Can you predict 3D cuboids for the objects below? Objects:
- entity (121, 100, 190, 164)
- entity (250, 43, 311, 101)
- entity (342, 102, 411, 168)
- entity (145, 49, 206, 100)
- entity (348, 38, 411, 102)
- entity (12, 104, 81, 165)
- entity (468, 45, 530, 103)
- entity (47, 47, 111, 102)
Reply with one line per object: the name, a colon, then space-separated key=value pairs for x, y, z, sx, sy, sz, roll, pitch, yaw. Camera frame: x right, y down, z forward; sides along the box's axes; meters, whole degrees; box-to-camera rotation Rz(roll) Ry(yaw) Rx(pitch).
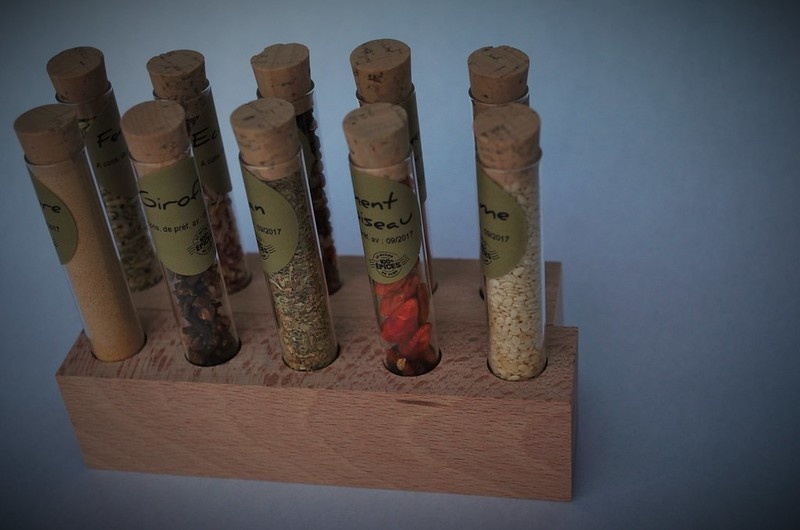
entity: x=-0.692 y=-0.397 z=2.027 sx=0.188 sy=0.136 sz=0.182 roll=-11 pitch=50 yaw=-7
entity: x=-0.391 y=-0.618 z=2.250 sx=0.215 sy=0.153 sz=0.207 roll=-11 pitch=42 yaw=-16
entity: x=-0.056 y=-0.358 z=1.927 sx=0.167 sy=0.119 sz=0.167 roll=-37 pitch=57 yaw=-23
entity: x=-0.722 y=-0.624 z=2.337 sx=0.180 sy=0.110 sz=0.178 roll=-31 pitch=53 yaw=-28
entity: x=-0.055 y=-0.595 z=2.196 sx=0.178 sy=0.130 sz=0.174 roll=-6 pitch=49 yaw=2
entity: x=-1.020 y=-0.369 z=2.059 sx=0.155 sy=0.157 sz=0.114 roll=-1 pitch=18 yaw=17
entity: x=0.291 y=-0.570 z=2.135 sx=0.182 sy=0.110 sz=0.177 roll=-13 pitch=49 yaw=-6
entity: x=-1.041 y=-0.640 z=2.357 sx=0.134 sy=0.138 sz=0.128 roll=-29 pitch=74 yaw=-21
